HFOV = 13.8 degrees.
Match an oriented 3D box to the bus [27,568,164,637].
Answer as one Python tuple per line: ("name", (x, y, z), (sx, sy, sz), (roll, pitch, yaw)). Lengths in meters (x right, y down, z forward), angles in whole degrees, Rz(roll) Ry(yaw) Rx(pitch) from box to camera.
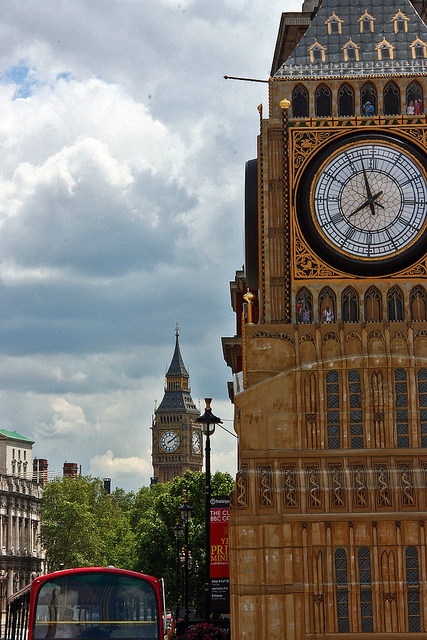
("bus", (-3.414, 8.302, 51.503), (3.552, 1.979, 0.435), (1, -13, -8))
